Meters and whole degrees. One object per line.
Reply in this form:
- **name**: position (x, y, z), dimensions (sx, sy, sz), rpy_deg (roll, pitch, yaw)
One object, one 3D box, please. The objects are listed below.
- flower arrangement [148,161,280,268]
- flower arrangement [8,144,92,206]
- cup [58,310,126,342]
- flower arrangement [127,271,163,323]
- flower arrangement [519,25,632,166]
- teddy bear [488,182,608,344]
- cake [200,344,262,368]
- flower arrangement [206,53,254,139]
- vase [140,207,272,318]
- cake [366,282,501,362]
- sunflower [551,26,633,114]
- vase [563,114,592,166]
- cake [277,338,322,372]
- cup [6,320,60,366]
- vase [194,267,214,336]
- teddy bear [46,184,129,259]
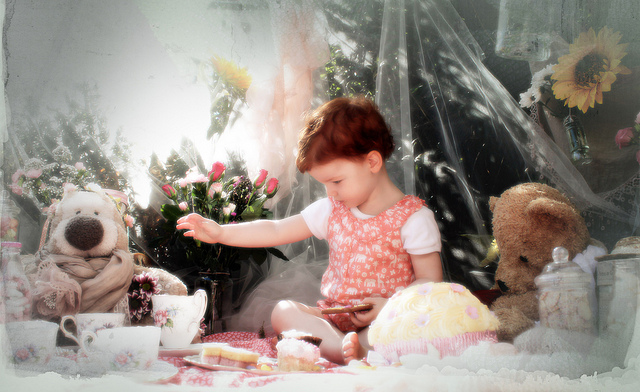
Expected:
- **flower arrangement**: position (-0.632, 0.126, 2.745), dimensions (0.672, 0.604, 0.575), rpy_deg (-5, -1, -24)
- **flower arrangement**: position (-1.399, -0.096, 2.365), dimensions (0.331, 0.334, 0.253), rpy_deg (4, 2, 25)
- **cup**: position (-0.939, 0.568, 1.951), dimensions (0.287, 0.112, 0.185), rpy_deg (-2, -17, -11)
- **flower arrangement**: position (-0.848, 0.497, 2.273), dimensions (0.160, 0.243, 0.076), rpy_deg (-5, 0, -20)
- **flower arrangement**: position (1.332, -0.481, 2.526), dimensions (0.494, 0.557, 0.320), rpy_deg (12, -20, 5)
- **teddy bear**: position (1.142, 0.281, 2.489), dimensions (0.506, 0.864, 0.530), rpy_deg (-4, 0, 19)
- **cake**: position (-0.367, 0.654, 1.893), dimensions (0.229, 0.096, 0.088), rpy_deg (-5, -1, -10)
- **flower arrangement**: position (-0.584, -0.640, 3.003), dimensions (0.179, 0.527, 0.247), rpy_deg (13, 18, 39)
- **vase**: position (-0.705, 0.409, 2.920), dimensions (0.787, 0.724, 0.701), rpy_deg (7, -6, -30)
- **cake**: position (0.428, 0.491, 1.800), dimensions (0.382, 0.237, 0.332), rpy_deg (-11, -10, 1)
- **sunflower**: position (1.474, -0.677, 2.539), dimensions (0.397, 0.381, 0.152), rpy_deg (-40, -33, 27)
- **vase**: position (1.384, -0.326, 2.519), dimensions (0.108, 0.276, 0.105), rpy_deg (-15, -7, 21)
- **cake**: position (-0.088, 0.671, 1.934), dimensions (0.160, 0.140, 0.152), rpy_deg (10, -15, -21)
- **cup**: position (-1.069, 0.546, 1.747), dimensions (0.181, 0.120, 0.164), rpy_deg (-5, -11, -1)
- **vase**: position (-0.618, 0.548, 2.606), dimensions (0.104, 0.453, 0.105), rpy_deg (3, -5, 4)
- **teddy bear**: position (-1.079, 0.115, 2.149), dimensions (0.330, 0.337, 0.120), rpy_deg (-5, -1, -27)
